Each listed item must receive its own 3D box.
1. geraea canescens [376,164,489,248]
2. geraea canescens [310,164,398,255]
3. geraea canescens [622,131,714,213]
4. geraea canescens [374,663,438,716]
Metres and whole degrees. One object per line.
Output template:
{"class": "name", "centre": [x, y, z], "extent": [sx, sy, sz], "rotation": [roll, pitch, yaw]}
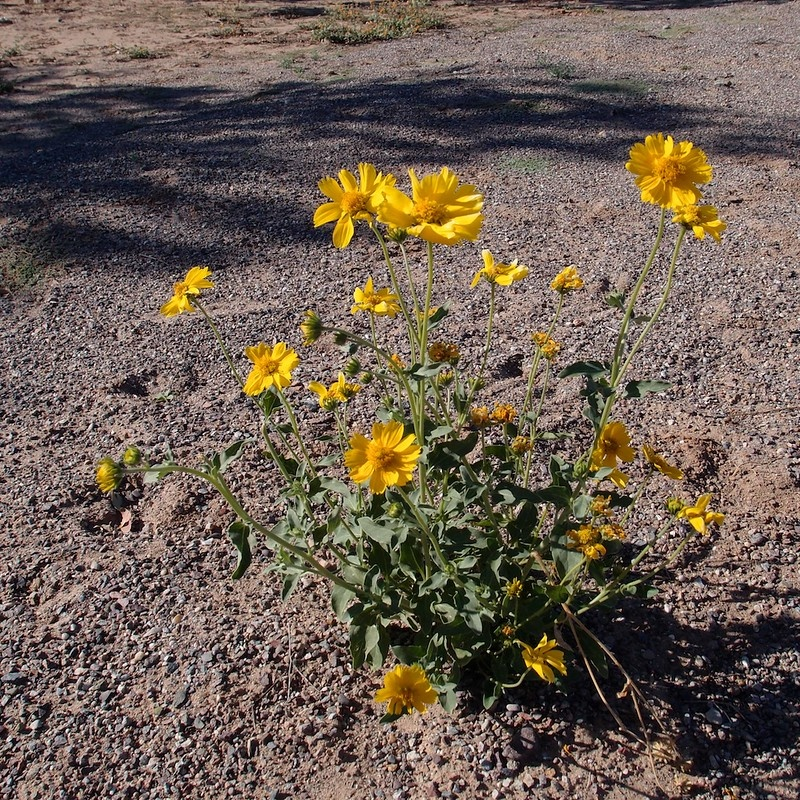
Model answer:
{"class": "geraea canescens", "centre": [0.083, -0.516, 2.090], "extent": [0.282, 0.219, 0.254], "rotation": [1, 51, -1]}
{"class": "geraea canescens", "centre": [-0.106, -0.568, 2.236], "extent": [0.130, 0.294, 0.316], "rotation": [31, 42, 18]}
{"class": "geraea canescens", "centre": [0.769, -0.664, 2.162], "extent": [0.210, 0.201, 0.073], "rotation": [21, 91, -10]}
{"class": "geraea canescens", "centre": [0.018, 0.829, 2.231], "extent": [0.172, 0.070, 0.174], "rotation": [16, 18, -7]}
